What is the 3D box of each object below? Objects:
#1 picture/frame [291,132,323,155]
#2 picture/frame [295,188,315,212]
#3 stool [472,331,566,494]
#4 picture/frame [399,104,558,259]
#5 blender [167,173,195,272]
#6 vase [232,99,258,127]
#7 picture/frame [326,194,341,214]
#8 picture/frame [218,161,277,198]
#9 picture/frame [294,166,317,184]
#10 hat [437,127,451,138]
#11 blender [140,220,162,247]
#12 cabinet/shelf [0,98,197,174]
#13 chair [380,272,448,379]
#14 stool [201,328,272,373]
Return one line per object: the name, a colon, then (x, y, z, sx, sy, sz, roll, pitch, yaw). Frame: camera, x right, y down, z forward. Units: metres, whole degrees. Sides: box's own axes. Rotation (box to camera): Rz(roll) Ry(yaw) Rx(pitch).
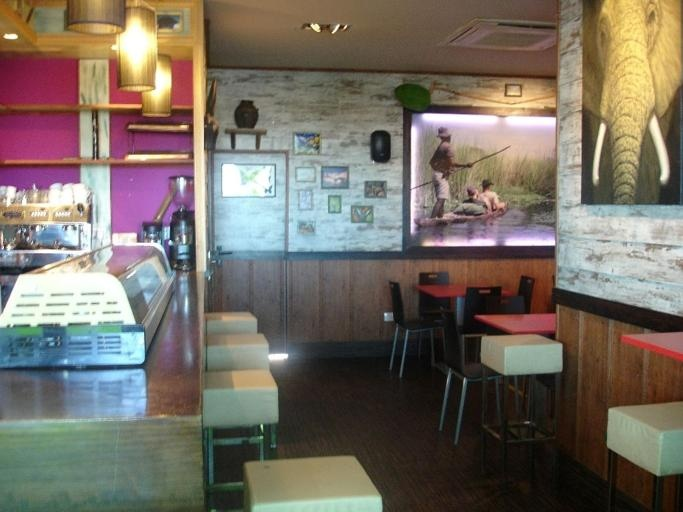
picture/frame: (-0.410, -1.309, 6.389, 0.260, 0.210, 0.026, 1, 1, -9)
picture/frame: (-0.423, -0.668, 6.433, 0.260, 0.343, 0.034, -1, 5, -4)
stool: (1.127, 0.938, 3.474, 0.431, 0.772, 0.428, 22, -31, -40)
picture/frame: (1.569, -0.927, 6.650, 1.893, 1.607, 0.080, 1, 1, -11)
blender: (-1.254, -0.261, 4.367, 0.202, 0.737, 0.309, -2, 6, -16)
vase: (-1.039, -1.563, 6.198, 0.318, 0.415, 0.277, 3, 7, -5)
picture/frame: (-0.091, -0.622, 6.475, 0.231, 0.306, 0.031, 0, 2, -8)
picture/frame: (-1.069, -0.871, 6.392, 0.644, 0.397, 0.047, 3, 8, 7)
picture/frame: (-0.427, -0.951, 6.416, 0.200, 0.149, 0.020, 0, -1, -6)
hat: (1.229, -1.479, 6.613, 0.126, 0.128, 0.041, 1, -6, -9)
blender: (-1.505, -0.182, 4.353, 0.180, 0.179, 0.159, 0, 6, 2)
cabinet/shelf: (-1.883, -0.945, 4.312, 1.456, 0.487, 0.271, -1, 6, -7)
chair: (0.836, 0.769, 5.946, 0.630, 0.948, 0.583, -2, 3, -18)
stool: (-0.607, 0.544, 3.148, 0.438, 0.210, 0.224, 0, 3, -9)
